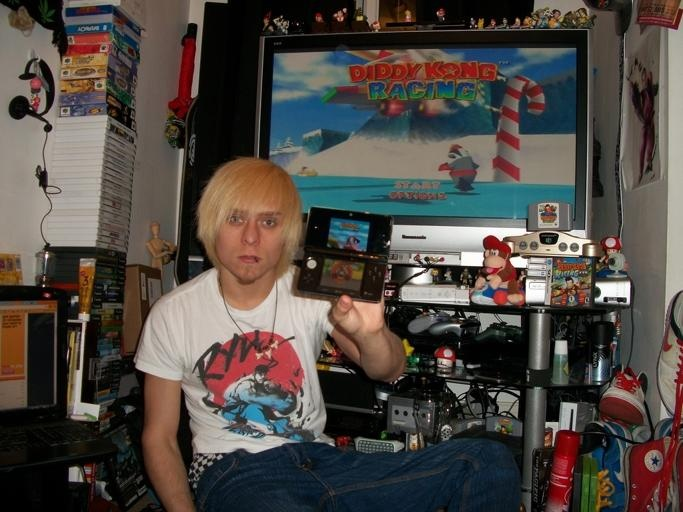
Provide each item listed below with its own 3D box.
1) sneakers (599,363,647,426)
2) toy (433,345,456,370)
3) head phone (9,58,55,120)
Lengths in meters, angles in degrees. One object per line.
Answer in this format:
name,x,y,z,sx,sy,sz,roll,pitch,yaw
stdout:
sneakers,1.167,0.581,2.200,0.127,0.148,0.324,7,-22,21
toy,0.470,0.462,2.391,0.083,0.084,0.098,-9,-27,41
head phone,-1.447,-0.789,2.516,0.065,0.337,0.230,3,-3,3
